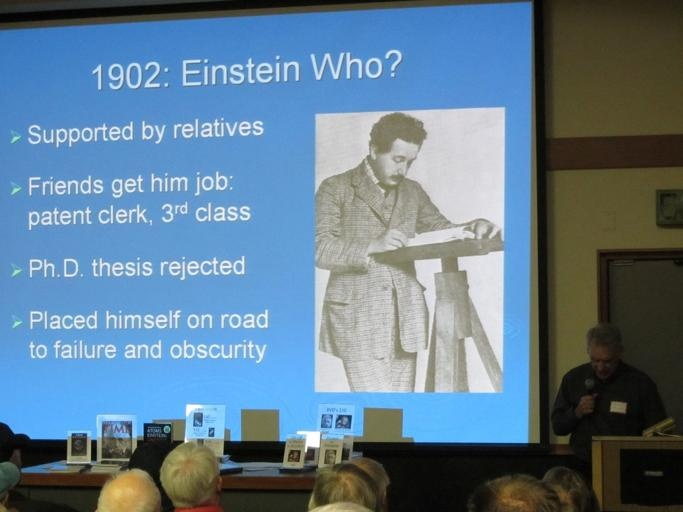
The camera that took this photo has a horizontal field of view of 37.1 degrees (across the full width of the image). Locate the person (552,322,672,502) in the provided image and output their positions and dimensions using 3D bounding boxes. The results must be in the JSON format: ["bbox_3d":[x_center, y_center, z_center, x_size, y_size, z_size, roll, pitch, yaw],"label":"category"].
[{"bbox_3d":[1.827,0.989,7.001,0.768,1.036,0.380,-3,-9,14],"label":"person"}]
